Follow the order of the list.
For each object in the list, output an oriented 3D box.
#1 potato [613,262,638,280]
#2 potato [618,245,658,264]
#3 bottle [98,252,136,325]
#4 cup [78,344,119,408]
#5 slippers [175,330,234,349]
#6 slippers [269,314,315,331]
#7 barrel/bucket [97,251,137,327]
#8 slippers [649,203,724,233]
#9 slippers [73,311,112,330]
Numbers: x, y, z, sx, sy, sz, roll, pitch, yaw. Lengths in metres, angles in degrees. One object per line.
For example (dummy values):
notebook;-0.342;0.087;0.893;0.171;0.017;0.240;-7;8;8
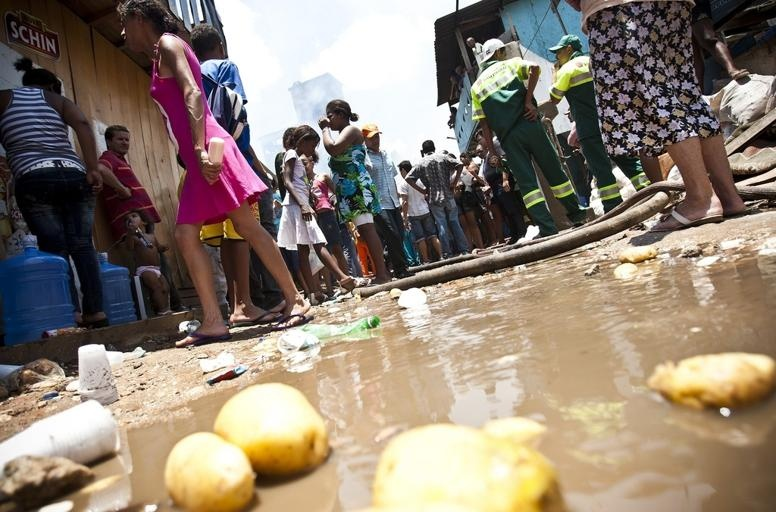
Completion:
potato;1.226;0.076;2.321;0.094;0.047;0.098;-11;19;34
potato;1.403;0.008;2.532;0.112;0.071;0.141;-11;0;-21
bottle;-2.700;0.346;4.464;0.313;0.710;0.274;2;-4;0
cup;-1.255;0.518;1.926;0.153;0.258;0.135;-2;11;32
slippers;-1.213;0.523;2.961;0.341;0.096;0.137;2;-8;-32
slippers;-0.682;0.458;3.241;0.135;0.076;0.239;-11;-11;41
barrel/bucket;-2.888;0.394;4.587;0.472;0.802;0.481;-10;1;0
slippers;1.878;-0.234;2.848;0.401;0.165;0.142;-1;11;40
slippers;-2.525;0.542;3.830;0.398;0.183;0.153;-14;-9;33
